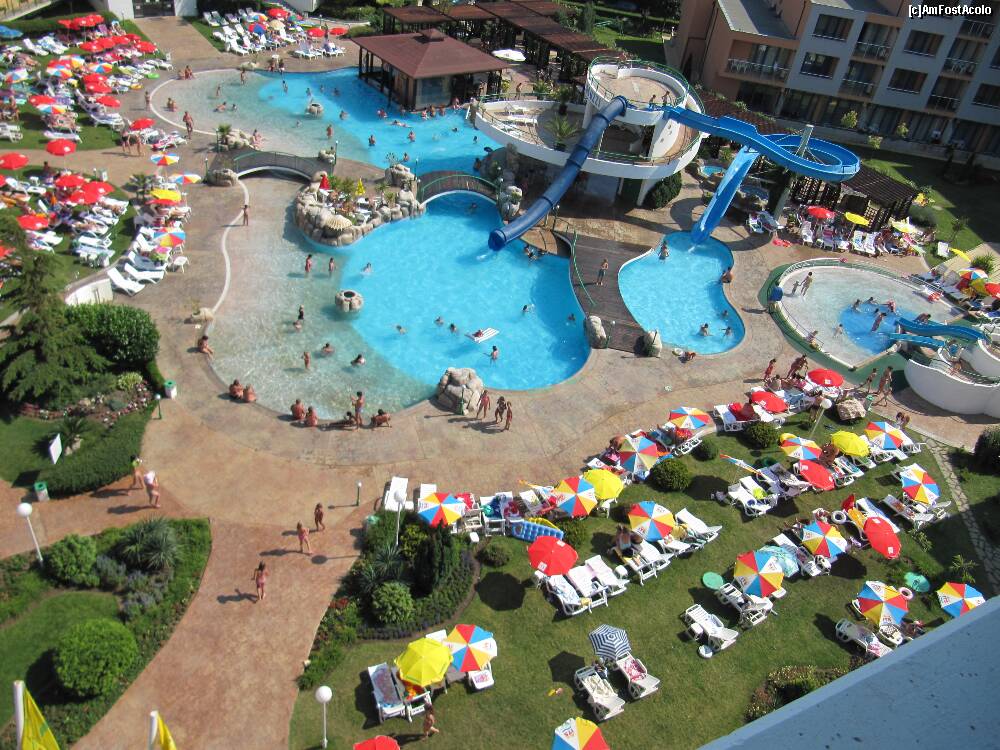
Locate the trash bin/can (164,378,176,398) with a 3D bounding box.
[{"bbox_3d":[-18.901,0.798,42.155,0.684,0.663,0.928,-10,44,-24],"label":"trash bin/can"}]

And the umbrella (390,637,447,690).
[{"bbox_3d":[-3.244,12.015,30.952,2.115,0.864,1.734,-15,45,-28],"label":"umbrella"}]

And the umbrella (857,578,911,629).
[{"bbox_3d":[18.353,11.035,35.971,2.289,0.719,2.108,-18,45,-1],"label":"umbrella"}]

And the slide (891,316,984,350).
[{"bbox_3d":[30.861,-2.789,51.989,4.287,1.091,2.560,14,34,32],"label":"slide"}]

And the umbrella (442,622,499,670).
[{"bbox_3d":[-1.427,12.097,32.164,2.016,1.682,1.897,6,40,-7],"label":"umbrella"}]

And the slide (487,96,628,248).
[{"bbox_3d":[8.203,-20.173,66.742,5.396,3.920,35.573,-7,34,34],"label":"slide"}]

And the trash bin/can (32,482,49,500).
[{"bbox_3d":[-22.830,5.685,36.556,0.639,0.849,0.735,-10,45,-24],"label":"trash bin/can"}]

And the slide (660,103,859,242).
[{"bbox_3d":[21.332,-16.805,61.869,13.467,7.591,8.033,-3,42,-17],"label":"slide"}]

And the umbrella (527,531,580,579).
[{"bbox_3d":[2.237,9.042,35.478,2.040,2.282,1.766,30,44,21],"label":"umbrella"}]
